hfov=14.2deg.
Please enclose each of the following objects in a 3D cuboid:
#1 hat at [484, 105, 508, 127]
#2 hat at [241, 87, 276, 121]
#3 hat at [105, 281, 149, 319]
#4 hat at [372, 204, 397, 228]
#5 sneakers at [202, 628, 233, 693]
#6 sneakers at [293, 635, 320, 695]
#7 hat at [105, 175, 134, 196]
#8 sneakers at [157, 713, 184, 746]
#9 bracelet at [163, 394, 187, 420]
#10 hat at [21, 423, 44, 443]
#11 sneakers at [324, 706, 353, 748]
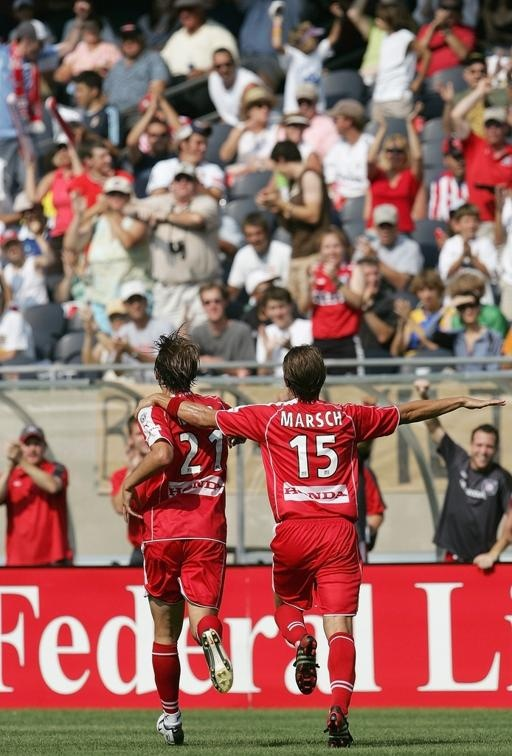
[{"bbox_3d":[1.677,-1.877,14.504,0.173,0.139,0.209,-2,4,14],"label":"hat"},{"bbox_3d":[-0.014,-2.205,15.895,0.186,0.157,0.269,-13,-20,-17],"label":"hat"},{"bbox_3d":[-0.902,-0.574,14.365,0.297,0.240,0.215,0,5,34],"label":"hat"},{"bbox_3d":[0.900,-1.147,14.479,0.160,0.144,0.293,0,5,3],"label":"hat"},{"bbox_3d":[-0.207,1.462,10.548,0.113,0.362,0.144,-17,-17,1],"label":"sneakers"},{"bbox_3d":[0.247,1.482,10.522,0.097,0.328,0.145,-1,-5,-5],"label":"sneakers"},{"bbox_3d":[-1.014,-1.411,14.858,0.203,0.143,0.307,-4,4,-5],"label":"hat"},{"bbox_3d":[-0.461,1.898,11.000,0.074,0.117,0.228,2,9,-12],"label":"sneakers"},{"bbox_3d":[-0.436,0.143,10.880,0.058,0.088,0.115,21,-47,-16],"label":"bracelet"},{"bbox_3d":[-1.324,0.327,12.054,0.113,0.098,0.212,0,-35,-7],"label":"hat"},{"bbox_3d":[0.400,1.780,10.359,0.083,0.127,0.252,-1,-36,8],"label":"sneakers"}]
